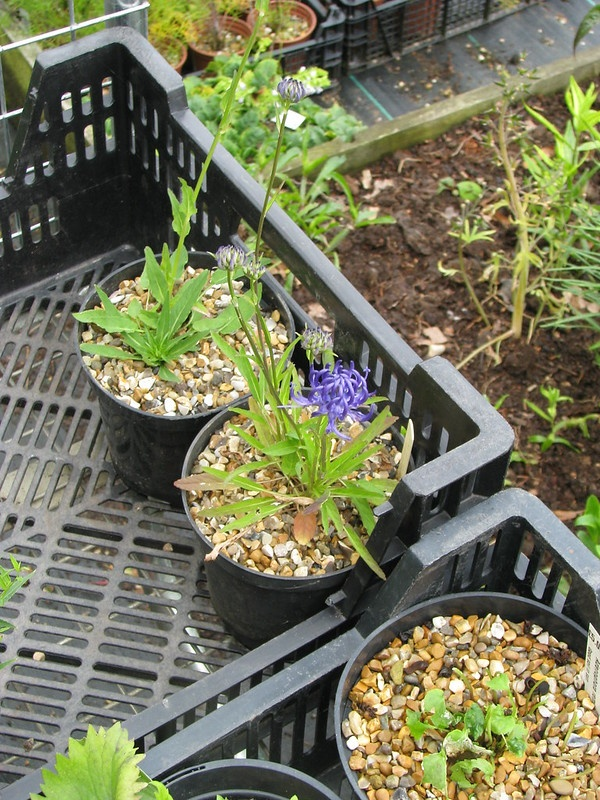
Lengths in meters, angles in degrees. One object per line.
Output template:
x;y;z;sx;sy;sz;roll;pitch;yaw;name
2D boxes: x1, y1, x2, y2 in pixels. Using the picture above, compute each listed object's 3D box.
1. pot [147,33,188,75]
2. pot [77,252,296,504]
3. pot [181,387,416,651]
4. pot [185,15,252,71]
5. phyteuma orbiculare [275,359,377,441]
-0.605;-1.645;3.391;0.128;0.120;0.268;-15;38;-21;pot
-0.222;-0.041;1.654;0.511;0.393;0.522;5;53;-7;pot
-0.022;0.241;1.376;0.402;0.330;0.435;9;41;-8;pot
-0.380;-1.721;3.481;0.291;0.232;0.356;30;44;34;pot
0.039;0.003;1.085;0.103;0.109;0.107;10;58;-7;phyteuma orbiculare
